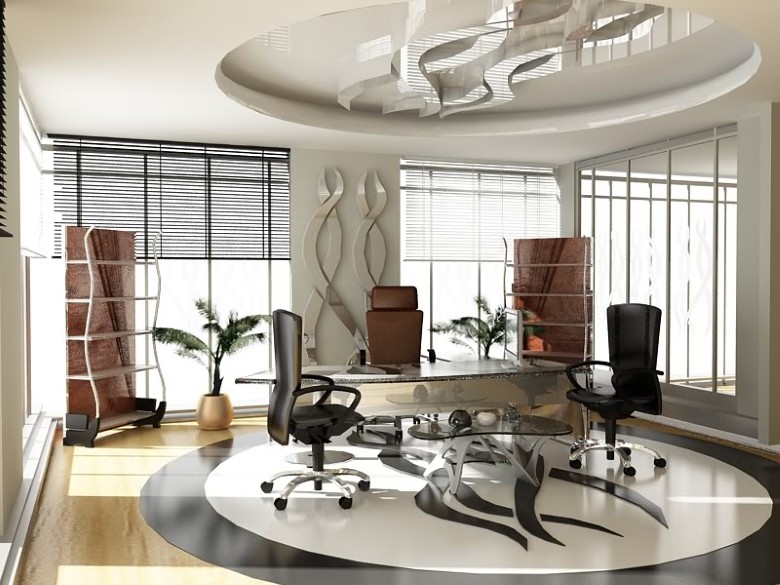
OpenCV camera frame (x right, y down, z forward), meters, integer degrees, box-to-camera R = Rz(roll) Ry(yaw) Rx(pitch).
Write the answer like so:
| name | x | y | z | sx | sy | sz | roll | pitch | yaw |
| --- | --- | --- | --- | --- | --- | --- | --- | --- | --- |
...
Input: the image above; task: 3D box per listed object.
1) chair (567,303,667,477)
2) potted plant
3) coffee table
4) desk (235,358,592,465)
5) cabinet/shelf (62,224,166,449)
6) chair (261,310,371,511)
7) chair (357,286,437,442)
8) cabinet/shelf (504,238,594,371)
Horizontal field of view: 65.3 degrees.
| name | x | y | z | sx | sy | sz | roll | pitch | yaw |
| --- | --- | --- | --- | --- | --- | --- | --- | --- | --- |
| chair | 2.304 | 0.927 | 6.147 | 0.958 | 1.594 | 1.264 | 3 | 8 | 23 |
| potted plant | -2.063 | 0.956 | 7.569 | 1.708 | 1.356 | 1.243 | 1 | -6 | 18 |
| coffee table | 0.860 | 1.385 | 5.578 | 1.398 | 0.686 | 0.976 | 0 | 7 | -1 |
| desk | 0.590 | 1.159 | 6.206 | 2.757 | 1.038 | 0.612 | -5 | 13 | 35 |
| cabinet/shelf | -3.271 | 0.434 | 7.263 | 0.891 | 2.449 | 1.732 | -1 | 8 | -1 |
| chair | -0.677 | 0.964 | 5.305 | 0.950 | 1.672 | 1.055 | -2 | 8 | -12 |
| chair | 0.151 | 0.671 | 7.310 | 0.955 | 1.315 | 0.834 | 2 | -2 | 3 |
| cabinet/shelf | 2.268 | 0.158 | 8.577 | 1.186 | 1.757 | 0.583 | 1 | 13 | 34 |
